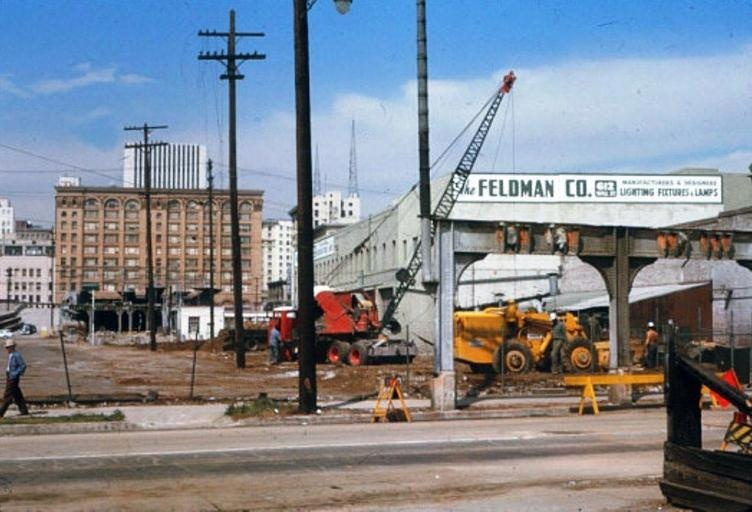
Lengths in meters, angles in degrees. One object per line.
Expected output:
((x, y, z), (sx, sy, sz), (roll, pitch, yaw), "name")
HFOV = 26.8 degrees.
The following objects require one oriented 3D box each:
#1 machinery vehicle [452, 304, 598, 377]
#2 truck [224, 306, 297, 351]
((9.708, 5.715, 102.047), (9.118, 4.664, 4.941), (-2, -3, 5), "machinery vehicle")
((-9.914, 7.422, 130.257), (6.569, 3.623, 4.260), (-1, -1, -17), "truck")
